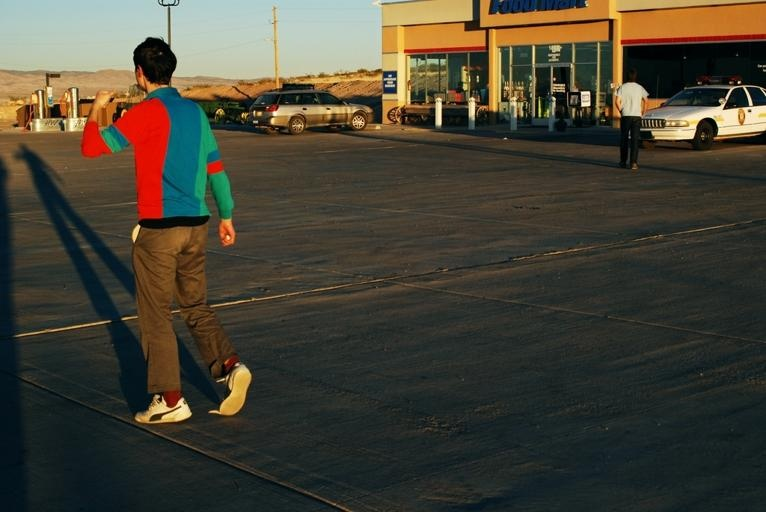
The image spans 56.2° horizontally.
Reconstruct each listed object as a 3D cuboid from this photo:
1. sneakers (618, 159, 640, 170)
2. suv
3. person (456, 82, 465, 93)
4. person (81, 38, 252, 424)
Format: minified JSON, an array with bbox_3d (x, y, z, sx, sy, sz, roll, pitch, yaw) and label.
[{"bbox_3d":[6.287,-2.338,18.599,0.714,0.246,0.247,5,9,44],"label":"sneakers"},{"bbox_3d":[-3.463,-6.767,33.783,5.274,2.001,1.056,-8,15,-29],"label":"suv"},{"bbox_3d":[4.345,-9.378,40.019,0.528,0.658,0.312,3,14,18],"label":"person"},{"bbox_3d":[-1.544,-0.172,5.106,0.946,2.673,0.702,-4,14,-10],"label":"person"}]
